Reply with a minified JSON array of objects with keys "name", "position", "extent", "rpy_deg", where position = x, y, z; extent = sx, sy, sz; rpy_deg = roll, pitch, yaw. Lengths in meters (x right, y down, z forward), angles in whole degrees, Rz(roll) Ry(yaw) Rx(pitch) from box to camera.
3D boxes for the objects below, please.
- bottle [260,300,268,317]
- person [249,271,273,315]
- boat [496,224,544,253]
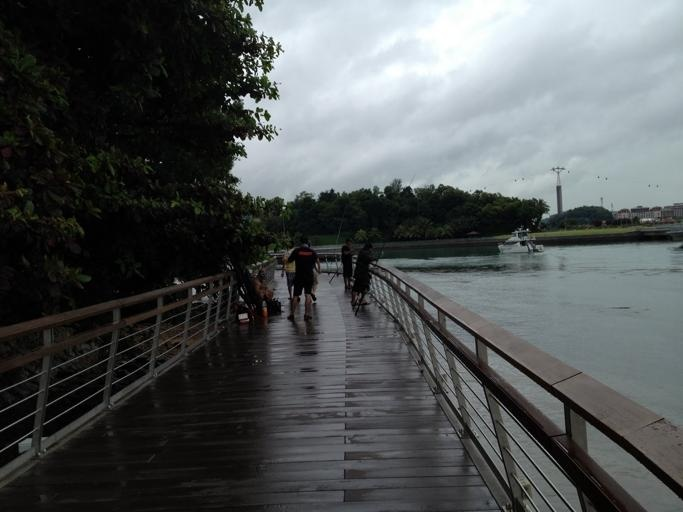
[{"name":"bottle","position":[-1.778,1.197,10.087],"extent":[0.128,0.346,0.647],"rpy_deg":[-2,2,-11]},{"name":"person","position":[-1.891,0.899,10.324],"extent":[0.269,0.933,0.557],"rpy_deg":[-34,-45,20]},{"name":"boat","position":[28.191,-1.936,73.870],"extent":[4.020,4.683,10.187],"rpy_deg":[-2,0,-6]}]
